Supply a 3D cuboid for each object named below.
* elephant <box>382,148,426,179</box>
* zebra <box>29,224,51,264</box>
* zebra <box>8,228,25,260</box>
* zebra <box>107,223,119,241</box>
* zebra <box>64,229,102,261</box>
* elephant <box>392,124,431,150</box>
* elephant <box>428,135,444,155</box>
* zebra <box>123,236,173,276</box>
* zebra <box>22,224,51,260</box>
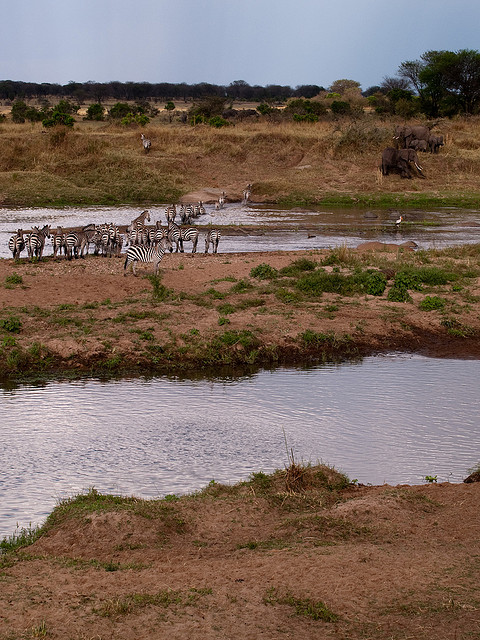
[{"bbox_3d":[6.979,-6.812,51.366,2.088,1.301,1.231,-12,19,-42],"label":"elephant"},{"bbox_3d":[-4.362,-1.692,25.823,0.230,0.738,1.033,4,8,15],"label":"zebra"},{"bbox_3d":[-4.800,-1.577,25.633,0.298,0.524,0.810,-1,14,-9],"label":"zebra"},{"bbox_3d":[-2.899,-1.992,26.600,0.142,0.410,0.392,0,4,8],"label":"zebra"},{"bbox_3d":[-3.425,-1.674,26.079,0.573,0.669,1.506,3,14,7],"label":"zebra"},{"bbox_3d":[7.596,-8.237,53.551,2.012,1.179,0.946,-1,11,-4],"label":"elephant"},{"bbox_3d":[8.700,-8.002,53.935,0.559,0.572,0.872,-11,16,-28],"label":"elephant"},{"bbox_3d":[-1.807,-1.278,23.377,0.965,0.820,0.281,0,7,4],"label":"zebra"},{"bbox_3d":[-4.453,-1.679,26.190,0.557,0.795,2.035,-1,14,-6],"label":"zebra"}]
